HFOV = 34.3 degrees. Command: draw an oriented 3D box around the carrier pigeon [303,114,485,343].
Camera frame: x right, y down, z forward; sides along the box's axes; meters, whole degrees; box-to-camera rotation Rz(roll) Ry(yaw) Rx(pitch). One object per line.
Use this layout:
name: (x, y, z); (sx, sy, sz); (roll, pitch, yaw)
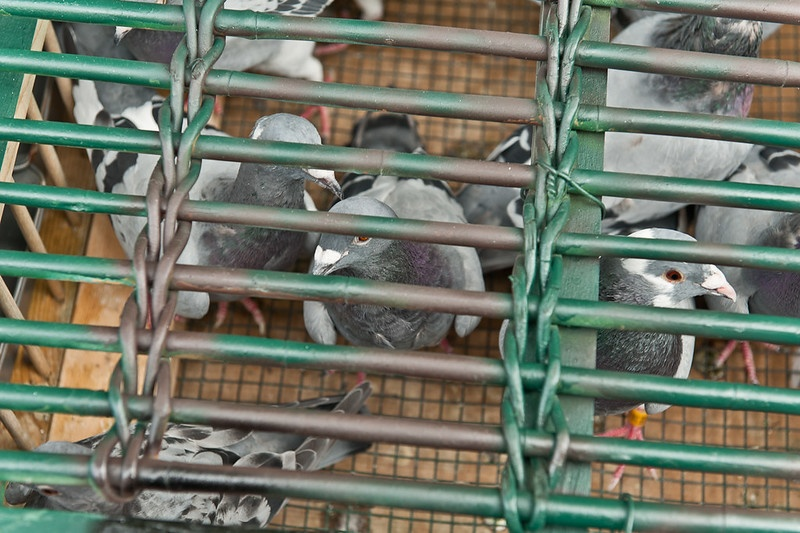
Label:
carrier pigeon: (-0.063, -0.023, 2.901); (0.417, 0.510, 0.690); (-9, -15, 0)

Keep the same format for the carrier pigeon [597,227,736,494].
carrier pigeon: (0.510, 0.184, 2.497); (0.201, 0.430, 0.451); (24, -18, 14)

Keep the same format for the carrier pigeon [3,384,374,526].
carrier pigeon: (-0.404, 0.352, 2.371); (0.446, 0.144, 0.267); (-16, -10, -2)
